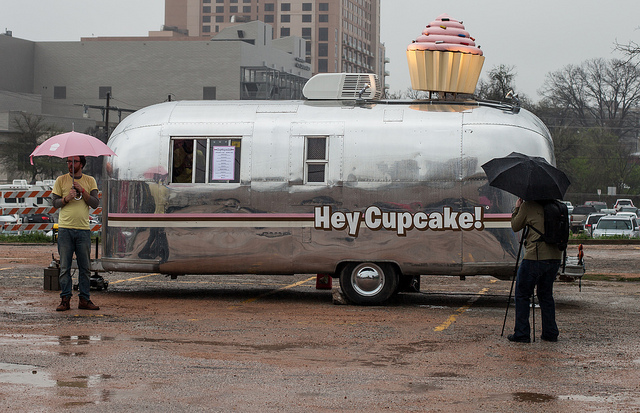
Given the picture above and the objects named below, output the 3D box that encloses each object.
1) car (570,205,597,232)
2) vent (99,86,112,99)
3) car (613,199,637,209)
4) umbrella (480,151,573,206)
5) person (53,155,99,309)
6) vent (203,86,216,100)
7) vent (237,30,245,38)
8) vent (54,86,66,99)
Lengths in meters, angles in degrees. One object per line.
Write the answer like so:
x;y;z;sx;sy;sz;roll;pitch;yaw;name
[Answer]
13.599;0.713;54.313;1.729;1.172;3.440;-1;4;13;car
-20.326;-10.874;99.862;1.158;1.371;1.597;-1;-2;-11;vent
19.570;-0.163;67.986;1.310;0.841;1.930;1;9;10;car
4.000;-0.574;20.596;1.228;0.359;1.197;29;37;21;umbrella
-5.168;0.527;22.309;0.914;3.234;0.687;-1;-3;-11;person
-10.225;-10.657;97.462;1.180;1.349;2.247;-1;-2;-6;vent
-8.031;-17.687;107.464;0.521;0.429;0.779;-13;8;2;vent
-25.130;-11.102;102.035;1.601;1.308;0.147;-2;1;17;vent
